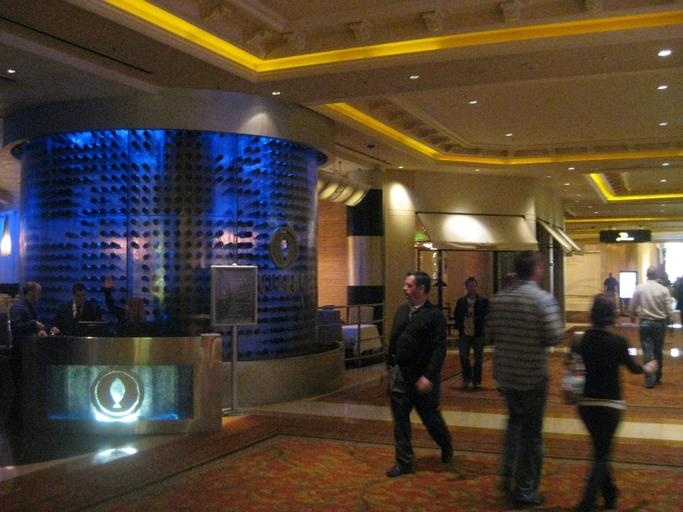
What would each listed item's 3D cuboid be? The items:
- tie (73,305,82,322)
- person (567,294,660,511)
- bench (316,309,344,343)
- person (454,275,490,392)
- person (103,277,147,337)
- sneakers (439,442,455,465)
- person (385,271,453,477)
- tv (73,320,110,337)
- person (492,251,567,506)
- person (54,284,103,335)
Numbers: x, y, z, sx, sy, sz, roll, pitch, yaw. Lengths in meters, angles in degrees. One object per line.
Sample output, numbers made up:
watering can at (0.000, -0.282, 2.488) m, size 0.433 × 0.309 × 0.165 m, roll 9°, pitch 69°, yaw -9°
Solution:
tie at (-3.859, 0.839, 8.346) m, size 0.168 × 0.207 × 0.061 m, roll 2°, pitch -3°, yaw 7°
person at (2.128, 1.197, 4.577) m, size 0.482 × 1.752 × 0.245 m, roll -1°, pitch -1°, yaw 17°
bench at (-0.231, 1.383, 11.508) m, size 0.468 × 0.702 × 1.576 m, roll -1°, pitch -1°, yaw -1°
person at (2.132, 1.301, 9.353) m, size 0.532 × 1.878 × 0.916 m, roll -1°, pitch -1°, yaw 10°
person at (-3.046, 0.688, 8.003) m, size 0.561 × 0.795 × 1.092 m, roll 0°, pitch -2°, yaw -22°
sneakers at (1.093, 2.047, 5.892) m, size 0.116 × 0.221 × 0.101 m, roll -4°, pitch 1°, yaw -30°
person at (0.741, 1.145, 5.611) m, size 0.584 × 1.962 × 0.621 m, roll -1°, pitch -1°, yaw 9°
tv at (-3.391, 1.010, 7.765) m, size 0.350 × 0.110 × 0.297 m, roll 1°, pitch -1°, yaw 0°
person at (1.575, 1.037, 4.824) m, size 0.609 × 2.153 × 0.327 m, roll -1°, pitch -1°, yaw 24°
person at (-3.792, 0.797, 8.259) m, size 0.790 × 0.917 × 0.601 m, roll 1°, pitch -12°, yaw -12°
